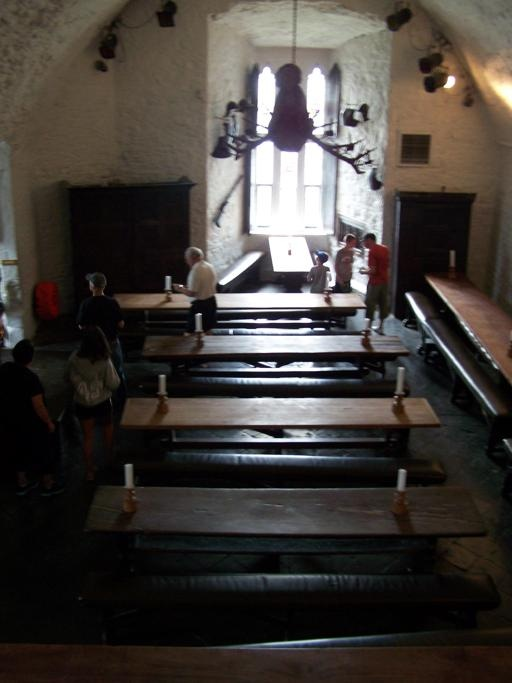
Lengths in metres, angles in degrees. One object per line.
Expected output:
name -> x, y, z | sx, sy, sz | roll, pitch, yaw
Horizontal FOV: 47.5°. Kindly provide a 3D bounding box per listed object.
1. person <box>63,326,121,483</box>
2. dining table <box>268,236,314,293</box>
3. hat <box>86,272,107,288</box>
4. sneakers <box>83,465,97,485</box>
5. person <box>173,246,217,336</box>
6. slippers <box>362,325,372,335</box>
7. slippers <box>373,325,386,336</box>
person -> -1.598, 0.493, 5.689 | 0.427, 1.542, 1.132 | -5, 18, -17
dining table -> 0.726, -1.590, 12.606 | 0.941, 1.094, 2.370 | 1, 16, 1
hat -> -1.758, -0.668, 6.431 | 0.167, 0.175, 0.189 | -2, 17, -7
sneakers -> -1.586, 1.253, 5.547 | 0.098, 0.098, 0.243 | 1, 28, -7
person -> -0.794, -0.629, 7.592 | 0.477, 1.178, 0.624 | 2, 17, 4
slippers -> 1.359, -0.132, 7.051 | 0.117, 0.101, 0.103 | -1, 5, -10
slippers -> 2.141, -0.204, 10.102 | 0.219, 0.069, 0.320 | 0, 10, 7
